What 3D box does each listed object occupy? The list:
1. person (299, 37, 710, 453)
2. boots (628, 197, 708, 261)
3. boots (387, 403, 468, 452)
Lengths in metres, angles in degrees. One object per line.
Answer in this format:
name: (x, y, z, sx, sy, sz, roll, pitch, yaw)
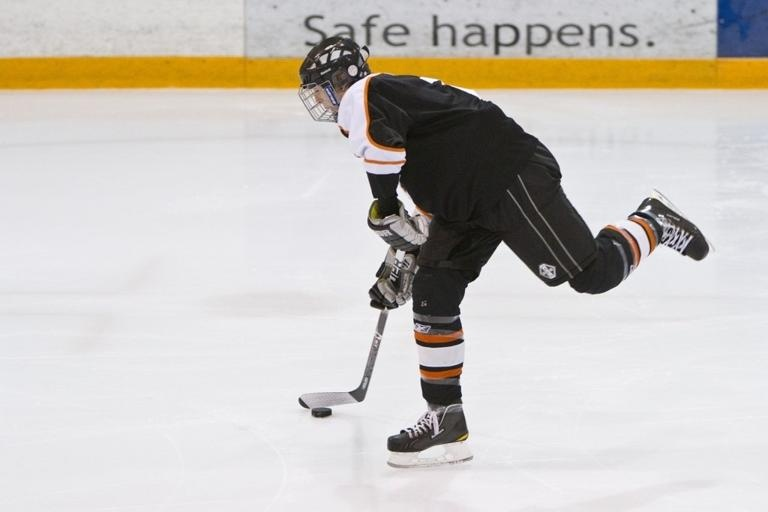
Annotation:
person: (0.451, -0.052, 4.033, 1.486, 1.697, 0.610, -3, 9, -18)
boots: (1.359, -0.117, 4.618, 0.460, 0.169, 0.150, 30, -35, -9)
boots: (0.191, 0.694, 3.917, 0.418, 0.161, 0.136, -7, -4, -7)
